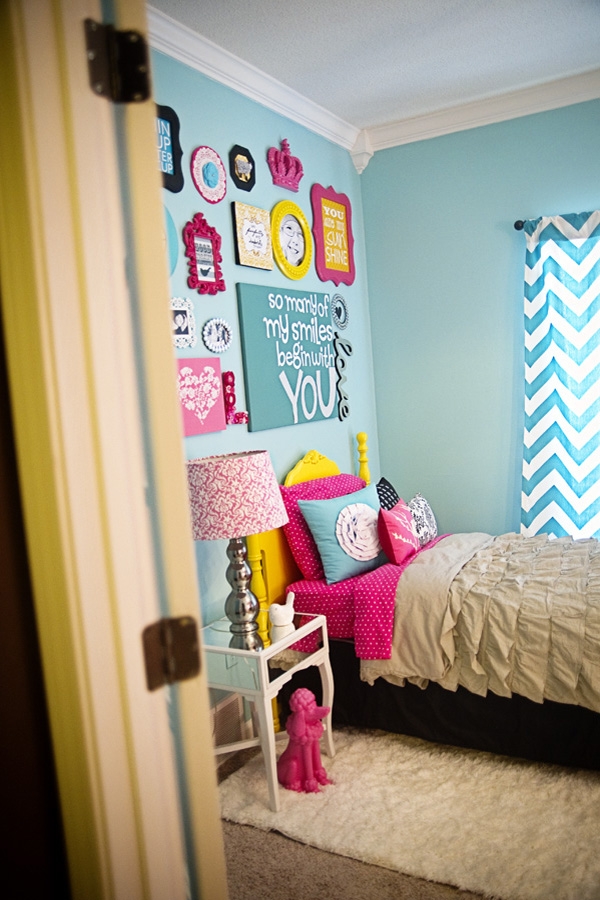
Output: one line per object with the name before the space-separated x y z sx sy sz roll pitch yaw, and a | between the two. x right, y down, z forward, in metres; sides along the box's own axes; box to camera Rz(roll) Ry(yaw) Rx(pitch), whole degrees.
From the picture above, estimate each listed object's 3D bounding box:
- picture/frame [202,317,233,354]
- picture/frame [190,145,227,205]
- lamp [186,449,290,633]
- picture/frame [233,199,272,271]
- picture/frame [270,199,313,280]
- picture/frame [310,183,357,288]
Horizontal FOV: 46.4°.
picture/frame | -0.310 -0.425 2.611 0.023 0.118 0.115 -3 -15 34
picture/frame | -0.335 -1.021 2.611 0.024 0.211 0.253 -3 5 23
lamp | -0.182 0.320 2.260 0.288 0.609 0.311 -5 4 -3
picture/frame | -0.199 -0.872 2.859 0.033 0.335 0.346 -1 0 25
picture/frame | -0.045 -0.944 3.161 0.020 0.428 0.415 -2 3 25
picture/frame | 0.159 -1.082 3.543 0.024 0.702 0.627 -1 1 23
